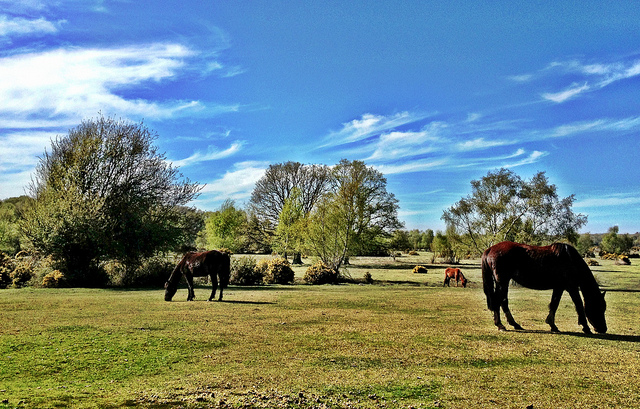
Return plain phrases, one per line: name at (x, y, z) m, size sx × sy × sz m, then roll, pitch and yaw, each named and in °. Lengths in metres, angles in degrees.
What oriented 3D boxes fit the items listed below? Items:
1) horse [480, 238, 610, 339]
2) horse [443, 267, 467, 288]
horse at (10.649, 3.847, 23.573) m, size 5.000 × 4.026 × 5.415 m, roll 0°, pitch -2°, yaw 17°
horse at (12.941, 7.079, 46.103) m, size 1.720 × 1.853 × 3.698 m, roll 1°, pitch -3°, yaw 12°
